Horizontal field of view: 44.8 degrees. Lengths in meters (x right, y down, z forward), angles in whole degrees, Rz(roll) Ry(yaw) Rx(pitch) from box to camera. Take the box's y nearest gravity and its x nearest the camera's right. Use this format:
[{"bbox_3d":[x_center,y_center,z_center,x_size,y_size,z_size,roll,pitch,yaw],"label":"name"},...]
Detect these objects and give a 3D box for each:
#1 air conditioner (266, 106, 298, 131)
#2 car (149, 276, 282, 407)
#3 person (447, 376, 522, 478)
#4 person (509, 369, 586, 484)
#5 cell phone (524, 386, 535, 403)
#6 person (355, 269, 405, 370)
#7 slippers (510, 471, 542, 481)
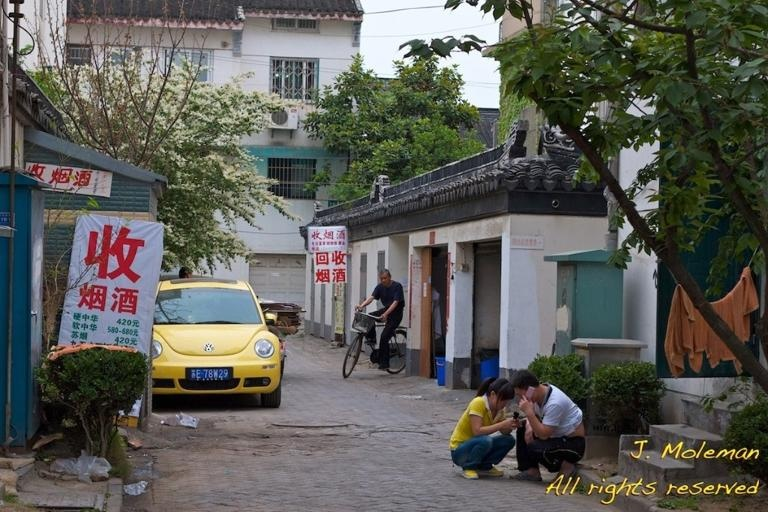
[{"bbox_3d":[-3.878,-5.307,35.927,1.103,0.806,0.781,2,0,-8],"label":"air conditioner"},{"bbox_3d":[-2.829,1.440,15.167,2.101,1.962,2.046,2,0,-28],"label":"car"},{"bbox_3d":[1.175,2.047,11.156,0.782,1.195,0.830,4,-5,-4],"label":"person"},{"bbox_3d":[1.798,2.123,11.519,1.196,1.666,1.020,2,-5,9],"label":"person"},{"bbox_3d":[1.675,1.598,10.779,0.171,0.157,0.045,5,18,-36],"label":"cell phone"},{"bbox_3d":[-0.067,1.394,19.782,0.838,2.202,1.556,2,1,-1],"label":"person"},{"bbox_3d":[1.671,2.614,11.060,0.364,0.151,0.132,4,-6,14],"label":"slippers"}]
